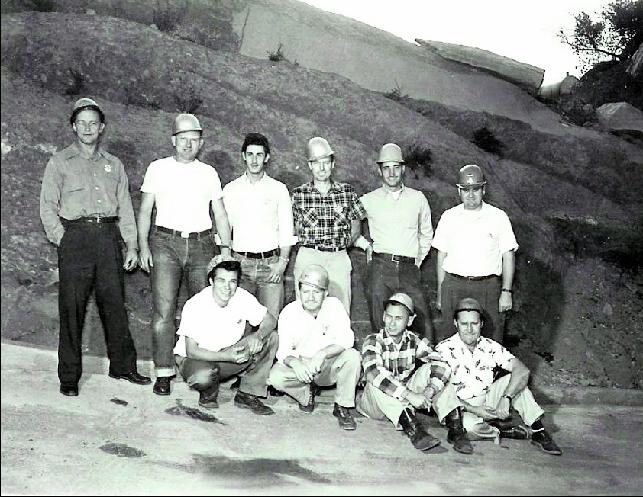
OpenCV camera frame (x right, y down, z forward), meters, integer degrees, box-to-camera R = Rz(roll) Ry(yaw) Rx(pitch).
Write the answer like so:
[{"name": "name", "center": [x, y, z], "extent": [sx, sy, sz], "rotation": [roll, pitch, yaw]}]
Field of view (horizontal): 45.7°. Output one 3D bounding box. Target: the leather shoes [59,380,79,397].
[{"name": "leather shoes", "center": [-2.344, 1.284, 7.064], "extent": [0.188, 0.115, 0.154], "rotation": [3, 3, -12]}]

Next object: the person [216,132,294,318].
[{"name": "person", "center": [-0.703, 0.132, 7.924], "extent": [0.774, 2.500, 0.620], "rotation": [0, 21, -7]}]

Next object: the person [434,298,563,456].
[{"name": "person", "center": [1.554, 1.160, 6.920], "extent": [1.267, 1.257, 0.892], "rotation": [4, 14, 41]}]

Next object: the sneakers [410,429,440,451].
[{"name": "sneakers", "center": [0.880, 1.685, 6.749], "extent": [0.137, 0.106, 0.244], "rotation": [-4, 6, -28]}]

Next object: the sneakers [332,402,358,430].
[{"name": "sneakers", "center": [0.183, 1.550, 7.105], "extent": [0.293, 0.193, 0.161], "rotation": [6, 4, 32]}]

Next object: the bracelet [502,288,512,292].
[{"name": "bracelet", "center": [1.844, 0.416, 7.675], "extent": [0.108, 0.049, 0.087], "rotation": [3, 3, -6]}]

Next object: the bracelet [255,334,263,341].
[{"name": "bracelet", "center": [-0.596, 0.824, 7.169], "extent": [0.015, 0.058, 0.062], "rotation": [-37, -12, 1]}]

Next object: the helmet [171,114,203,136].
[{"name": "helmet", "center": [-1.348, -1.230, 7.512], "extent": [0.198, 0.158, 0.261], "rotation": [-9, 17, -21]}]

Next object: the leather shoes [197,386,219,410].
[{"name": "leather shoes", "center": [-1.059, 1.392, 7.156], "extent": [0.207, 0.212, 0.149], "rotation": [1, 1, 16]}]

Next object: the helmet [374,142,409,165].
[{"name": "helmet", "center": [0.743, -1.054, 8.478], "extent": [0.380, 0.288, 0.538], "rotation": [-1, 5, 5]}]

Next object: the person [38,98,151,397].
[{"name": "person", "center": [-2.177, -0.048, 7.295], "extent": [0.963, 2.731, 0.523], "rotation": [2, 4, -25]}]

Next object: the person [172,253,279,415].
[{"name": "person", "center": [-0.907, 0.821, 7.248], "extent": [0.929, 1.441, 0.993], "rotation": [-1, 11, -6]}]

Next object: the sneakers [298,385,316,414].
[{"name": "sneakers", "center": [-0.138, 1.442, 7.313], "extent": [0.111, 0.292, 0.119], "rotation": [1, -7, -3]}]

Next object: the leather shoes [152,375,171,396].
[{"name": "leather shoes", "center": [-1.535, 1.306, 7.293], "extent": [0.092, 0.185, 0.244], "rotation": [3, -9, -13]}]

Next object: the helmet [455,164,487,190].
[{"name": "helmet", "center": [1.490, -0.719, 7.682], "extent": [0.261, 0.237, 0.138], "rotation": [4, 3, 6]}]

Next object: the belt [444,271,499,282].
[{"name": "belt", "center": [1.499, 0.281, 7.703], "extent": [0.533, 0.084, 0.162], "rotation": [4, 3, 3]}]

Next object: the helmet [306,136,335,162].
[{"name": "helmet", "center": [-0.054, -1.029, 7.876], "extent": [0.204, 0.147, 0.258], "rotation": [-17, 13, -6]}]

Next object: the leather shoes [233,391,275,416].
[{"name": "leather shoes", "center": [-0.660, 1.458, 7.205], "extent": [0.434, 0.203, 0.160], "rotation": [16, 8, 8]}]

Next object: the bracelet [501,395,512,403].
[{"name": "bracelet", "center": [1.659, 1.352, 6.921], "extent": [0.067, 0.027, 0.067], "rotation": [26, 6, -28]}]

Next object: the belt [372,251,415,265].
[{"name": "belt", "center": [0.733, 0.097, 7.926], "extent": [0.428, 0.102, 0.106], "rotation": [4, 3, 0]}]

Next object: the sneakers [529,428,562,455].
[{"name": "sneakers", "center": [1.999, 1.716, 6.960], "extent": [0.123, 0.197, 0.324], "rotation": [-11, 21, -40]}]

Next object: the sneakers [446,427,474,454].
[{"name": "sneakers", "center": [1.230, 1.705, 6.828], "extent": [0.175, 0.181, 0.254], "rotation": [3, 3, -12]}]

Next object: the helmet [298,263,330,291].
[{"name": "helmet", "center": [-0.092, 0.258, 7.242], "extent": [0.198, 0.215, 0.269], "rotation": [17, -6, 26]}]

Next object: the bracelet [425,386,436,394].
[{"name": "bracelet", "center": [0.959, 1.275, 6.862], "extent": [0.085, 0.078, 0.061], "rotation": [4, 3, 5]}]

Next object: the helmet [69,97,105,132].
[{"name": "helmet", "center": [-2.277, -1.390, 7.388], "extent": [0.331, 0.432, 0.221], "rotation": [-5, 28, -22]}]

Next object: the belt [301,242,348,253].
[{"name": "belt", "center": [0.007, -0.023, 7.856], "extent": [0.471, 0.102, 0.164], "rotation": [3, 3, -10]}]
